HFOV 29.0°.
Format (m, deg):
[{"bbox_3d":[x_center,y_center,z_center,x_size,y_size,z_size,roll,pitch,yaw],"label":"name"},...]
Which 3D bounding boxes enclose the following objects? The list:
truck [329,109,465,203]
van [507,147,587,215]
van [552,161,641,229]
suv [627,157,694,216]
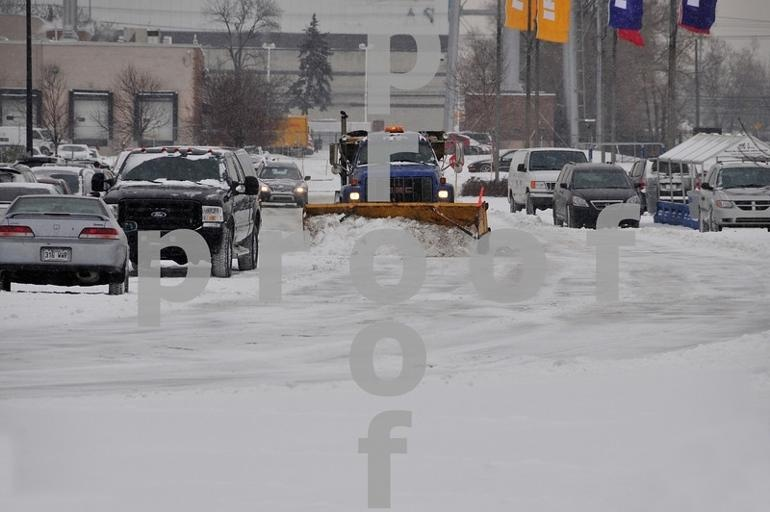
[{"bbox_3d":[0.210,-2.588,42.849,2.084,2.319,4.024,0,-1,-3],"label":"truck"},{"bbox_3d":[5.338,-2.562,51.617,1.934,2.080,4.853,1,4,0],"label":"van"},{"bbox_3d":[6.658,-1.703,46.302,2.262,2.067,2.754,-1,15,-5],"label":"van"},{"bbox_3d":[9.696,-2.420,52.164,1.399,1.341,2.723,0,12,5],"label":"suv"}]
